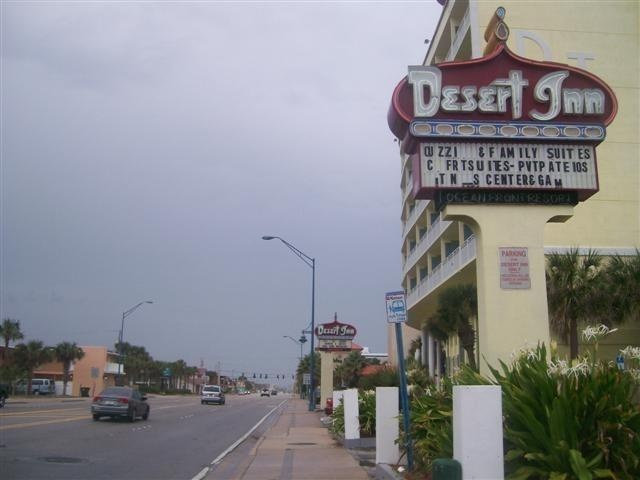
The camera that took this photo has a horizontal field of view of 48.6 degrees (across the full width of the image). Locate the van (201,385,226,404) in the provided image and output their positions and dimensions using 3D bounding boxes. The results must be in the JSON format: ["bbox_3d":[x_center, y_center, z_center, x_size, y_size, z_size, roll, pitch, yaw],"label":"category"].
[{"bbox_3d":[-8.512,12.496,57.043,1.021,1.163,2.357,0,-7,2],"label":"van"}]

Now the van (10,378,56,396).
[{"bbox_3d":[-28.550,14.701,71.413,3.110,1.711,9.129,6,-15,-9],"label":"van"}]

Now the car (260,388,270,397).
[{"bbox_3d":[-9.055,25.051,115.830,1.300,1.359,2.589,1,-4,-3],"label":"car"}]

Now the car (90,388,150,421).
[{"bbox_3d":[-8.661,7.214,31.119,1.445,1.473,2.649,-1,-14,19],"label":"car"}]
